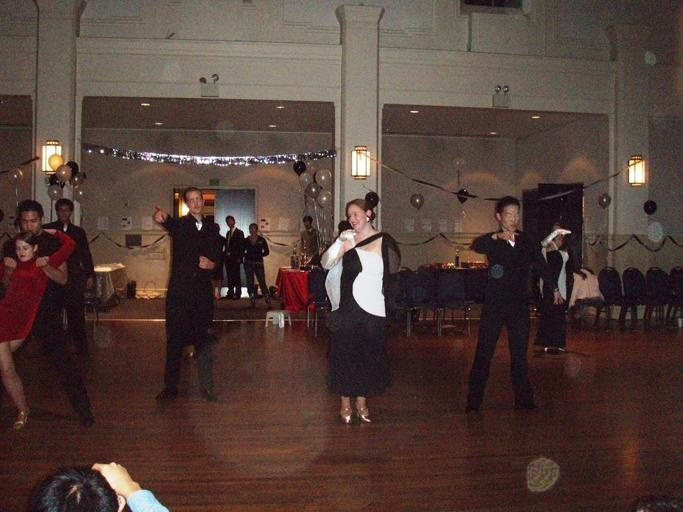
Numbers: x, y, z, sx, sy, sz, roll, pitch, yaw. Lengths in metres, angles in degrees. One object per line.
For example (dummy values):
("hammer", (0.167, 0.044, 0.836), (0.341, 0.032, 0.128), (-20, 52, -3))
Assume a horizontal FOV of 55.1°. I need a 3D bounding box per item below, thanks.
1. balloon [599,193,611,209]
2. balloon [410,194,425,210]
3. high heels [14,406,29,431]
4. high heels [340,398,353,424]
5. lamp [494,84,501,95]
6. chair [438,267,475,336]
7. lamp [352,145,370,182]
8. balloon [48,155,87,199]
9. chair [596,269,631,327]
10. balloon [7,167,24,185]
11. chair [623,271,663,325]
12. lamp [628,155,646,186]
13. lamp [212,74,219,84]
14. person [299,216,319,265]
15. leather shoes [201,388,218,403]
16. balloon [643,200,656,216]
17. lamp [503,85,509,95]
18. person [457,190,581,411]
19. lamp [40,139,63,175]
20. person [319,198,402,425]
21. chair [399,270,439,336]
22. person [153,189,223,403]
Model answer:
("balloon", (4.624, -0.944, 11.410), (0.184, 0.271, 0.302), (5, 7, 37))
("balloon", (1.530, -1.130, 13.022), (0.310, 0.353, 0.338), (-4, -13, 1))
("high heels", (-2.696, 1.383, 5.474), (0.081, 0.230, 0.101), (10, 32, -24))
("high heels", (0.041, 1.368, 5.771), (0.071, 0.097, 0.250), (-2, 41, -3))
("lamp", (2.639, -2.767, 10.946), (0.104, 0.156, 0.058), (1, 8, -2))
("chair", (1.634, 0.660, 9.789), (0.657, 0.886, 0.687), (-6, 10, 25))
("lamp", (0.335, -1.492, 10.572), (0.281, 0.513, 0.335), (0, 2, -11))
("balloon", (-4.161, -1.163, 9.765), (0.522, 0.658, 0.889), (-2, 6, -25))
("chair", (4.370, 0.645, 10.501), (0.445, 0.835, 0.522), (-5, 11, 32))
("balloon", (-5.071, -1.229, 10.095), (0.171, 0.239, 0.455), (-2, 7, -27))
("chair", (4.890, 0.650, 10.676), (0.534, 0.873, 0.765), (3, 6, 24))
("lamp", (5.133, -1.450, 11.269), (0.332, 0.538, 0.119), (1, 5, 3))
("lamp", (-2.025, -2.806, 10.427), (0.134, 0.122, 0.170), (2, -5, -12))
("person", (-0.622, -0.125, 12.405), (0.351, 1.212, 0.337), (-1, -17, -3))
("leather shoes", (-1.255, 1.322, 6.200), (0.152, 0.160, 0.097), (-1, 7, -2))
("balloon", (5.401, -0.824, 11.370), (0.163, 0.247, 0.270), (6, 8, 41))
("lamp", (2.779, -2.769, 10.962), (0.123, 0.134, 0.033), (-1, 2, -13))
("person", (1.551, 0.441, 6.014), (0.759, 1.948, 0.425), (1, 5, 6))
("lamp", (-4.492, -1.493, 10.127), (0.302, 0.572, 0.336), (4, 5, 10))
("person", (0.165, 0.361, 5.728), (0.683, 1.690, 0.324), (1, 5, -1))
("chair", (1.123, 0.686, 9.693), (0.545, 0.960, 0.566), (1, 6, 7))
("person", (-1.461, 0.372, 6.166), (0.574, 1.978, 0.314), (-1, 6, -12))
